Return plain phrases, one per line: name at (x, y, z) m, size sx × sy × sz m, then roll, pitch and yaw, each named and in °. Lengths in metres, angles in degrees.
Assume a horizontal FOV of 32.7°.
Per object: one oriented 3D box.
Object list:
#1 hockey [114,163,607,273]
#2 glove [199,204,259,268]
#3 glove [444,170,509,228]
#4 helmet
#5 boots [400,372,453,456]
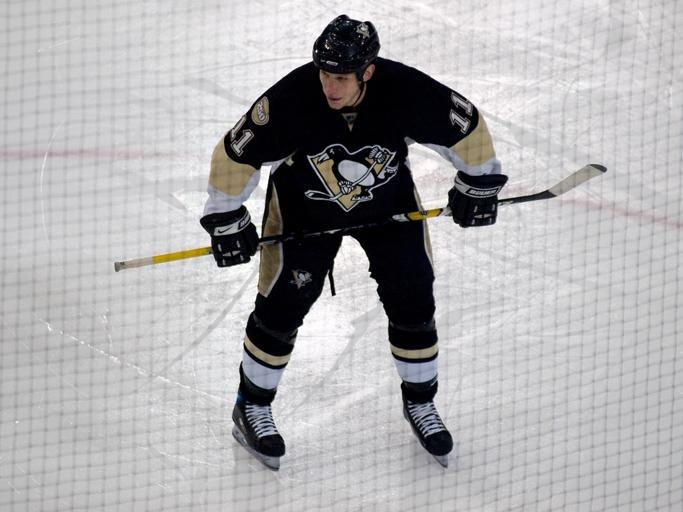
hockey at (0.068, -0.164, 5.767) m, size 2.420 × 0.116 × 0.228 m, roll -9°, pitch 18°, yaw -5°
glove at (-0.500, -0.086, 5.308) m, size 0.255 × 0.268 × 0.120 m, roll -13°, pitch 16°, yaw -5°
glove at (0.640, -0.270, 5.461) m, size 0.217 × 0.254 × 0.190 m, roll -10°, pitch 21°, yaw -38°
helmet at (0.021, -0.894, 5.135) m, size 0.277 × 0.280 × 0.299 m, roll 20°, pitch 41°, yaw 14°
boots at (0.347, 0.768, 5.580) m, size 0.160 × 0.244 × 0.478 m, roll -25°, pitch 37°, yaw 2°
